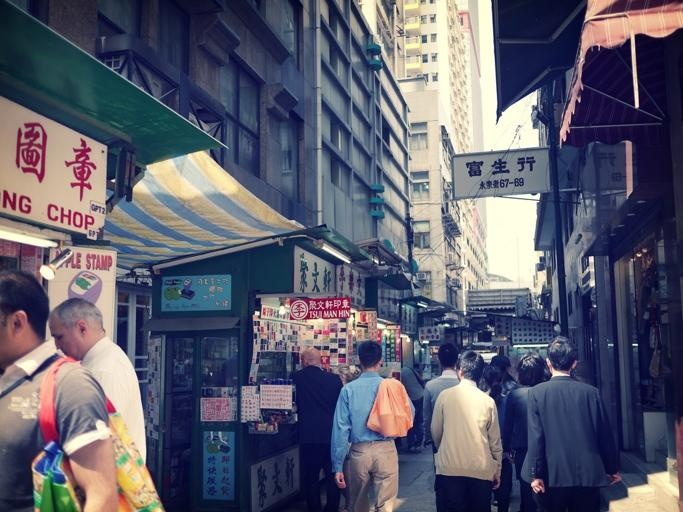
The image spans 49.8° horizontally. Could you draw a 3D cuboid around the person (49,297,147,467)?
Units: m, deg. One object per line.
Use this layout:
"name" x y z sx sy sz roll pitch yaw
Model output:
"person" -1.852 1.061 5.999 1.310 0.429 0.497 -39 -33 16
